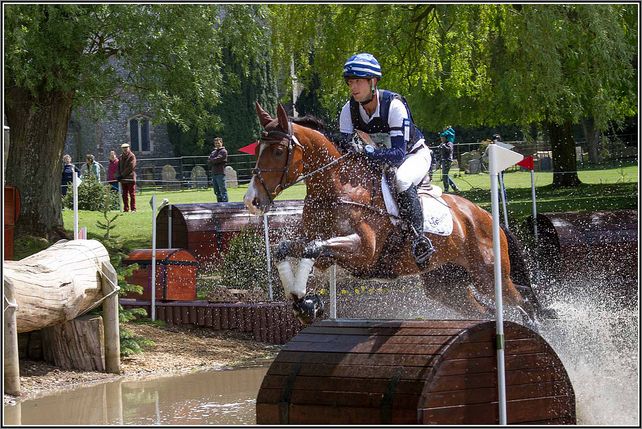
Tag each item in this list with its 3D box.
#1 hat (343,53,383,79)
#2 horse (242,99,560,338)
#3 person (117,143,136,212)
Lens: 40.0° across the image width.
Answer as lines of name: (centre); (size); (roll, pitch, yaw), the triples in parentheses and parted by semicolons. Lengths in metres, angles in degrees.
hat: (0.545, -1.984, 11.888); (0.608, 0.364, 0.456); (0, 4, -35)
horse: (0.919, 0.070, 12.096); (4.076, 2.263, 0.880); (-3, 1, -31)
person: (-5.432, -0.973, 24.443); (0.593, 1.898, 0.631); (6, -9, -42)
